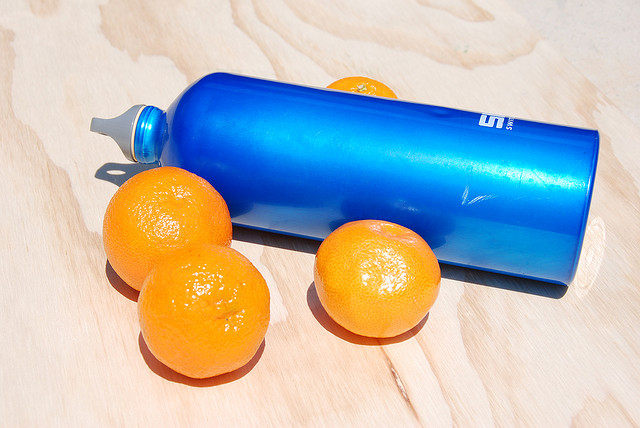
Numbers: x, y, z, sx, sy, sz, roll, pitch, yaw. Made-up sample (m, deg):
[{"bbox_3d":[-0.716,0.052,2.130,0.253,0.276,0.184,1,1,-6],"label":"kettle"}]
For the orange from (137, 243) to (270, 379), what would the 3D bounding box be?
[{"bbox_3d":[-0.168,0.136,0.913,0.202,0.214,0.205,11,97,-20],"label":"orange"}]

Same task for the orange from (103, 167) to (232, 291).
[{"bbox_3d":[-0.237,0.036,0.997,0.217,0.222,0.211,-6,88,15],"label":"orange"}]

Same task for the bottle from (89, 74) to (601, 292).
[{"bbox_3d":[0.098,-0.073,1.111,0.884,0.277,0.294,14,83,5],"label":"bottle"}]

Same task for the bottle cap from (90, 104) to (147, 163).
[{"bbox_3d":[-0.338,-0.142,1.036,0.084,0.063,0.071,11,56,0],"label":"bottle cap"}]

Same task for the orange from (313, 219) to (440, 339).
[{"bbox_3d":[0.084,0.088,0.908,0.174,0.087,0.161,-15,59,-16],"label":"orange"}]
